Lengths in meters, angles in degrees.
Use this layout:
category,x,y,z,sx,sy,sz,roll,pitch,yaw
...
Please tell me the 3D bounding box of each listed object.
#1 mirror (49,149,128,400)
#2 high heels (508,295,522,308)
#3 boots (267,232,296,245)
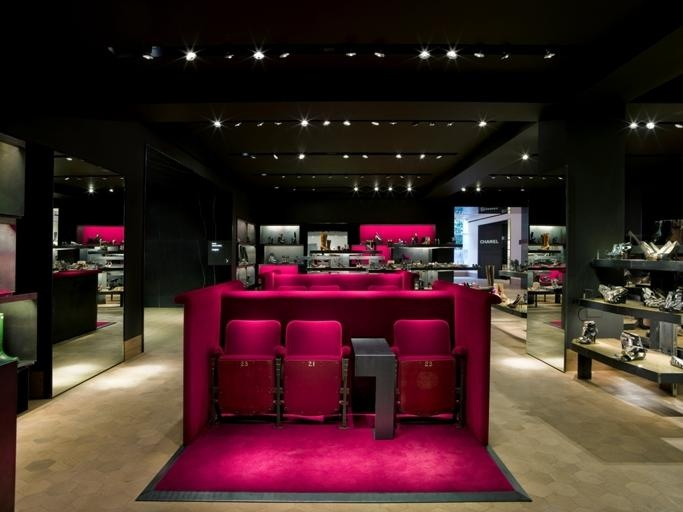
category,x,y,z,sx,sy,sz,roll,pitch,yaw
mirror,-3.766,0.121,7.144,0.981,3.229,1.817,-3,13,-12
high heels,3.175,0.821,8.825,0.222,0.228,0.403,4,13,19
boots,-1.886,-0.571,15.760,1.171,0.487,0.361,0,-1,-3
